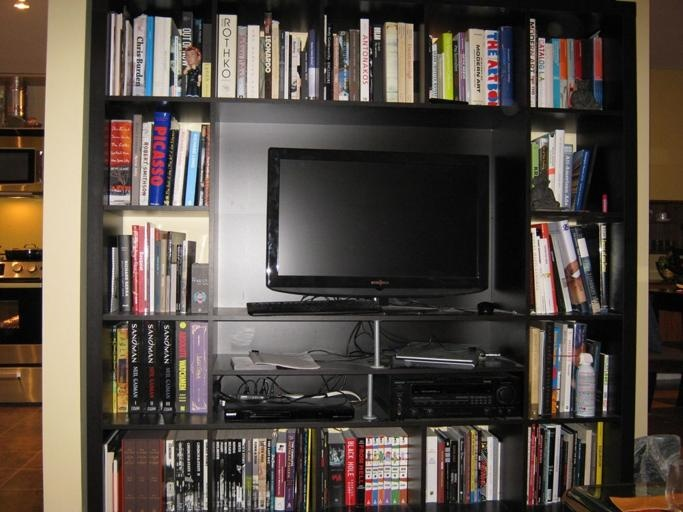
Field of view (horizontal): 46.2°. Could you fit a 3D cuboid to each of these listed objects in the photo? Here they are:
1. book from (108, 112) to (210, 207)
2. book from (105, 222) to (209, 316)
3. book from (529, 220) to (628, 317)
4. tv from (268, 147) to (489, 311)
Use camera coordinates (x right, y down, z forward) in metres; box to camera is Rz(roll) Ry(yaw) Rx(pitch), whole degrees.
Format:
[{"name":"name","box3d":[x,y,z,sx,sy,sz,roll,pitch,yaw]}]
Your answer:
[{"name":"book","box3d":[-0.869,-0.463,3.792,0.475,0.231,0.381,0,-60,-8]},{"name":"book","box3d":[-0.874,0.042,3.818,0.466,0.312,0.372,0,-60,-8]},{"name":"book","box3d":[1.095,0.055,4.090,0.575,0.406,0.607,1,-93,-6]},{"name":"tv","box3d":[0.159,-0.141,3.944,0.778,0.078,0.574,0,-87,-6]}]
